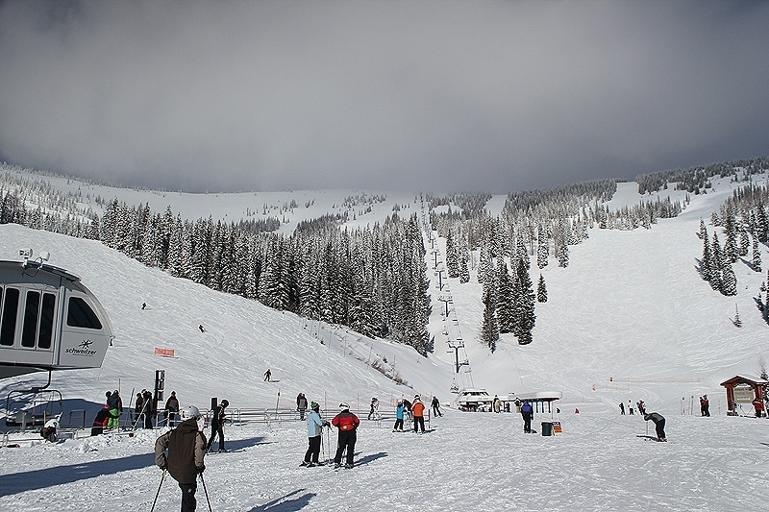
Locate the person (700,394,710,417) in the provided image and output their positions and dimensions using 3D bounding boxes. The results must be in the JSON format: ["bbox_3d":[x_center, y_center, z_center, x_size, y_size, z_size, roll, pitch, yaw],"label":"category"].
[{"bbox_3d":[29.519,13.908,51.953,0.551,1.697,1.532,-6,-12,22],"label":"person"}]

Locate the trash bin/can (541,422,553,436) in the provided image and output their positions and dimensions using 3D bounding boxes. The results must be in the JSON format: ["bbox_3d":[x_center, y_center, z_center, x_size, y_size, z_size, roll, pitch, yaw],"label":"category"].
[{"bbox_3d":[10.833,11.635,37.774,0.807,0.877,0.772,8,-15,-31],"label":"trash bin/can"}]

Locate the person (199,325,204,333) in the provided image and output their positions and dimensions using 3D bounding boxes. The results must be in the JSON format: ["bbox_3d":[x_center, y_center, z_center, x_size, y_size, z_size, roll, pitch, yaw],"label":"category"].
[{"bbox_3d":[-21.420,8.576,66.301,0.857,0.882,1.177,2,-12,-18],"label":"person"}]

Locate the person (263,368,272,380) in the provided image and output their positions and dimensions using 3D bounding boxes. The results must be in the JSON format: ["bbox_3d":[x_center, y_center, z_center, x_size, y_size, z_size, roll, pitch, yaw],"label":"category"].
[{"bbox_3d":[-12.405,12.791,60.283,0.816,1.352,2.658,1,-12,-13],"label":"person"}]
